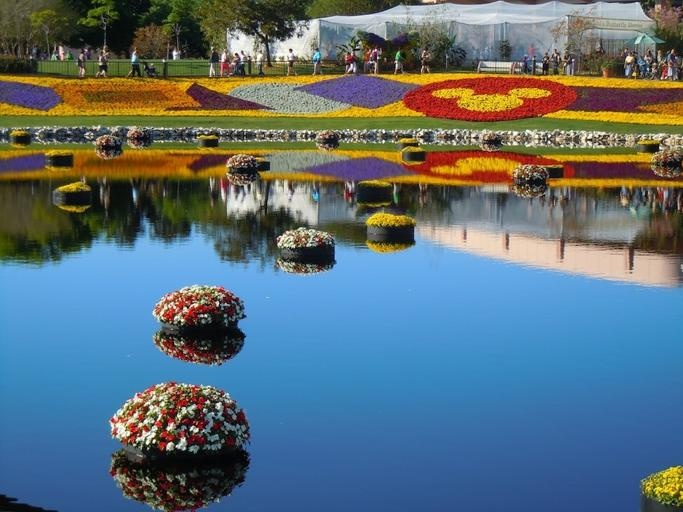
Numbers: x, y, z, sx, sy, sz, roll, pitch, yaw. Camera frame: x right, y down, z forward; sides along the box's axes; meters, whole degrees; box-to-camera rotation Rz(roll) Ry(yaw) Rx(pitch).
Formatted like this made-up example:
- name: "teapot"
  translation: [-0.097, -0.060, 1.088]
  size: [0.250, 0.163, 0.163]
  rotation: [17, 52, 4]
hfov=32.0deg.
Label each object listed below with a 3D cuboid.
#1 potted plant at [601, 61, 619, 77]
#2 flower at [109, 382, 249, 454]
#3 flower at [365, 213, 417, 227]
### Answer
- name: "potted plant"
  translation: [15.390, -10.480, 67.486]
  size: [0.891, 1.056, 0.986]
  rotation: [-2, 19, 0]
- name: "flower"
  translation: [-2.566, 2.750, 19.555]
  size: [1.406, 0.565, 1.350]
  rotation: [5, 10, -42]
- name: "flower"
  translation: [1.211, -0.826, 29.069]
  size: [1.208, 0.297, 0.637]
  rotation: [11, 18, 35]
